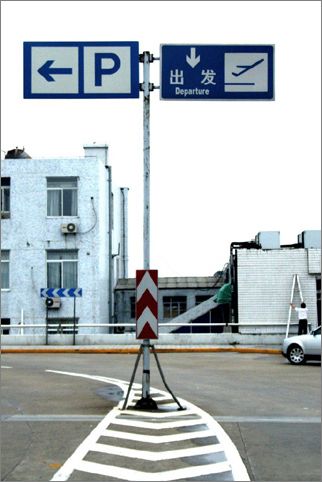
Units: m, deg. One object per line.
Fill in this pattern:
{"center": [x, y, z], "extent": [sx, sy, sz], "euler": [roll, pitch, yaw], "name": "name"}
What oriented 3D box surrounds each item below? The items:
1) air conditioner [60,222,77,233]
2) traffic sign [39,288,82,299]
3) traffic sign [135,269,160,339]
{"center": [-3.669, -0.503, 33.604], "extent": [0.610, 0.412, 0.755], "euler": [0, -5, -7], "name": "air conditioner"}
{"center": [-3.032, 1.519, 25.839], "extent": [1.194, 0.257, 1.091], "euler": [0, -5, -3], "name": "traffic sign"}
{"center": [-0.212, 0.833, 11.434], "extent": [0.292, 0.907, 0.134], "euler": [-1, -4, 6], "name": "traffic sign"}
